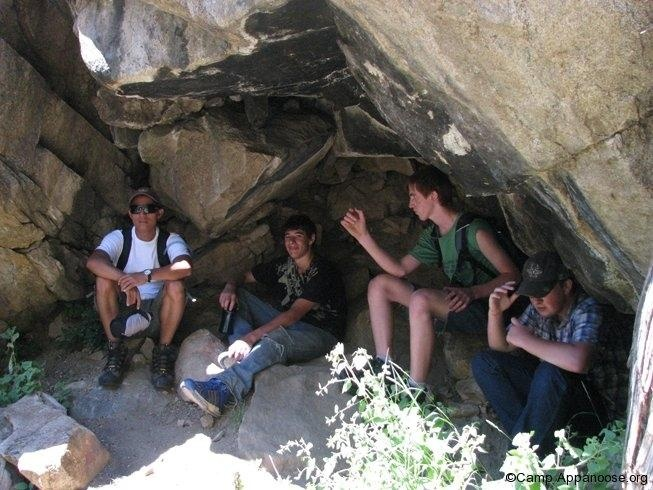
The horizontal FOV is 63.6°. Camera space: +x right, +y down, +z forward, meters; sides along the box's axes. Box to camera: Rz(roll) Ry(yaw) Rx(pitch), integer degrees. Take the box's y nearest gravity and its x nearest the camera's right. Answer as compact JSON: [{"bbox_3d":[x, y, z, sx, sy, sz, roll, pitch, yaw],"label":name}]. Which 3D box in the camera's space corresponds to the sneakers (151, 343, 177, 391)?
[{"bbox_3d":[-1.375,0.997,4.474,0.189,0.265,0.607,6,7,-16],"label":"sneakers"}]

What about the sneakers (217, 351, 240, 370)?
[{"bbox_3d":[-0.823,0.943,4.311,0.140,0.071,0.187,-33,7,-6],"label":"sneakers"}]

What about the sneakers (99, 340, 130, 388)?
[{"bbox_3d":[-1.753,0.973,4.339,0.172,0.285,0.338,1,17,-6],"label":"sneakers"}]

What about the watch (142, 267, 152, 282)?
[{"bbox_3d":[-1.496,0.248,4.420,0.066,0.100,0.110,0,50,-21],"label":"watch"}]

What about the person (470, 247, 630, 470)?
[{"bbox_3d":[1.388,0.749,3.317,0.905,1.335,0.684,15,20,35],"label":"person"}]

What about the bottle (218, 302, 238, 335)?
[{"bbox_3d":[-0.883,0.680,4.744,0.156,0.254,0.132,-1,17,-13],"label":"bottle"}]

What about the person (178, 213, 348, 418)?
[{"bbox_3d":[-0.578,0.489,4.603,1.041,1.404,1.980,4,9,21],"label":"person"}]

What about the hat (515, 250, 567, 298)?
[{"bbox_3d":[1.390,0.182,3.379,0.323,0.196,0.214,-31,27,-30],"label":"hat"}]

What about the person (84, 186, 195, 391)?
[{"bbox_3d":[-1.578,0.336,4.469,0.828,1.523,0.903,1,16,-5],"label":"person"}]
